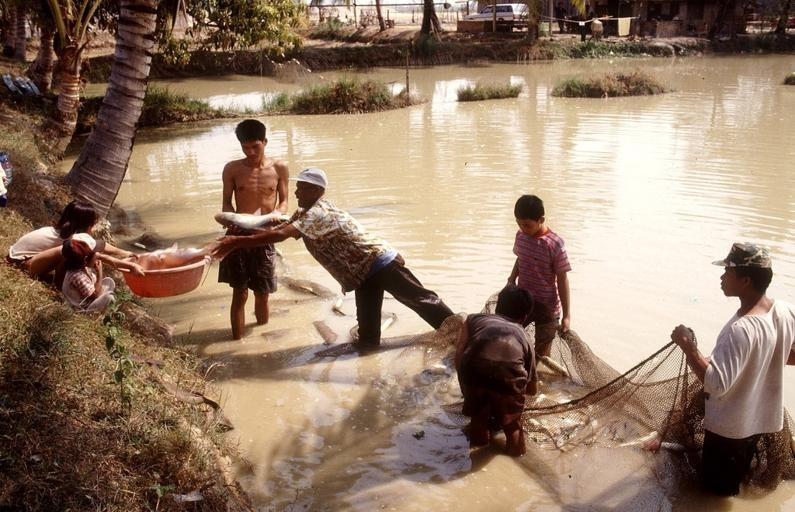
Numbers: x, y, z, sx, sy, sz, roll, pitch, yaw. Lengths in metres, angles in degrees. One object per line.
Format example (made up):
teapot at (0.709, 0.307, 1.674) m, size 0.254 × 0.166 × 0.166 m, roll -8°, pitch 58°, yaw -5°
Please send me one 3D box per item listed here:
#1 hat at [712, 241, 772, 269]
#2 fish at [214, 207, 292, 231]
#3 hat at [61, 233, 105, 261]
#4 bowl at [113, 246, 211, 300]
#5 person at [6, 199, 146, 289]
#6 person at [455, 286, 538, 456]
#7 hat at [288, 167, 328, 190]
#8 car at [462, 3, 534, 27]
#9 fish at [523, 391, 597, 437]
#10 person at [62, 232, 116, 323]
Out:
hat at (3.028, 0.000, 6.203) m, size 0.387 × 0.141 × 0.266 m, roll 1°, pitch 4°, yaw 17°
fish at (-1.576, -0.394, 7.834) m, size 0.797 × 0.274 × 0.392 m, roll -1°, pitch 7°, yaw -16°
hat at (-3.305, -0.086, 7.498) m, size 0.277 × 0.265 × 0.336 m, roll 4°, pitch 16°, yaw 12°
bowl at (-2.443, 0.164, 7.624) m, size 0.742 × 0.280 × 0.648 m, roll -1°, pitch 15°, yaw -7°
person at (-3.479, -0.147, 7.826) m, size 1.356 × 0.853 × 0.907 m, roll 1°, pitch 30°, yaw -26°
person at (0.948, 1.079, 6.808) m, size 0.757 × 1.504 × 0.554 m, roll 3°, pitch 17°, yaw 9°
hat at (-0.941, -0.838, 7.682) m, size 0.424 × 0.198 × 0.284 m, roll 6°, pitch 7°, yaw -7°
car at (6.221, -14.641, 43.252) m, size 3.264 × 1.319 × 2.091 m, roll 3°, pitch 16°, yaw 11°
fish at (1.569, 1.531, 7.013) m, size 0.439 × 0.205 × 0.529 m, roll -8°, pitch 12°, yaw 39°
person at (-3.196, 0.190, 7.653) m, size 0.631 × 0.802 × 0.602 m, roll 17°, pitch 22°, yaw 12°
